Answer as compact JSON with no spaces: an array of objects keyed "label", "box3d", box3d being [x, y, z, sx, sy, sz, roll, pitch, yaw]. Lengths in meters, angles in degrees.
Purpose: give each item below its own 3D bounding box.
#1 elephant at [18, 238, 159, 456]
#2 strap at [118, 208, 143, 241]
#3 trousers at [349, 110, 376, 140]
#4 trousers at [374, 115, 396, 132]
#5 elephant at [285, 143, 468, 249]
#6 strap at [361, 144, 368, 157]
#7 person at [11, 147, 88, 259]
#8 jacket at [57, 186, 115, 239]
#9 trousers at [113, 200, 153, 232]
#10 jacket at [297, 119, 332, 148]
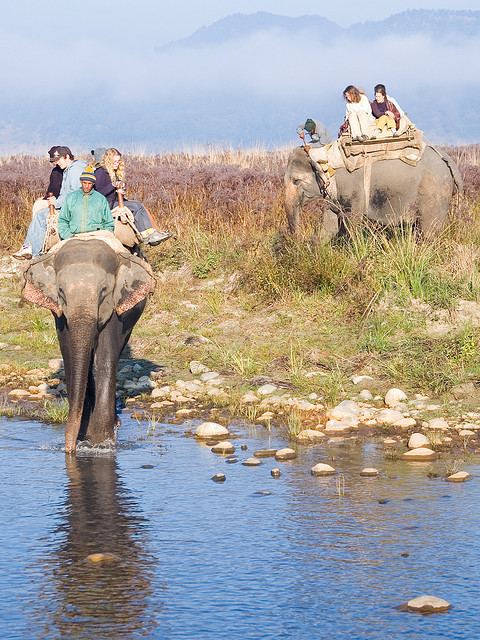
[{"label":"elephant","box3d":[-1.049,0.146,7.648,0.901,1.447,1.525,-1,7,1]},{"label":"strap","box3d":[-0.843,-0.737,8.405,0.025,0.321,0.062,-41,26,-5]},{"label":"trousers","box3d":[1.377,-2.247,12.462,0.208,0.347,0.135,-4,6,7]},{"label":"trousers","box3d":[1.646,-2.222,12.338,0.156,0.127,0.297,2,7,3]},{"label":"elephant","box3d":[1.681,-1.573,13.205,2.202,1.501,0.797,-6,38,-2]},{"label":"strap","box3d":[1.443,-1.940,12.571,0.021,0.167,0.031,-29,10,-29]},{"label":"person","box3d":[-1.557,-1.011,9.193,0.621,0.947,0.354,-1,-12,4]},{"label":"jacket","box3d":[-1.084,-0.738,7.592,0.388,0.350,0.218,-3,7,-10]},{"label":"trousers","box3d":[-0.878,-0.843,8.884,0.132,0.227,0.273,-26,-31,36]},{"label":"jacket","box3d":[0.954,-2.241,13.221,0.298,0.302,0.465,-1,7,0]}]
